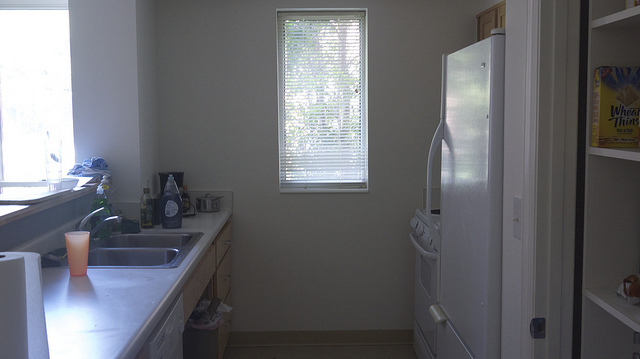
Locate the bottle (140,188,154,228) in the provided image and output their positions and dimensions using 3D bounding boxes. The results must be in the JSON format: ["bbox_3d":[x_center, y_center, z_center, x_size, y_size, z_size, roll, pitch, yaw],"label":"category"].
[{"bbox_3d":[-1.372,0.221,3.591,0.113,0.309,0.157,-6,11,-21],"label":"bottle"}]

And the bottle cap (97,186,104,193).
[{"bbox_3d":[-1.576,0.071,3.252,0.043,0.044,0.039,-6,11,-25],"label":"bottle cap"}]

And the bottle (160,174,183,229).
[{"bbox_3d":[-1.166,0.176,3.530,0.162,0.402,0.162,-2,10,0],"label":"bottle"}]

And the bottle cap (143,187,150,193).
[{"bbox_3d":[-1.371,0.083,3.575,0.049,0.034,0.048,1,2,-7],"label":"bottle cap"}]

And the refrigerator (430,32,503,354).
[{"bbox_3d":[0.975,0.243,3.024,0.273,2.326,0.759,-3,10,-10],"label":"refrigerator"}]

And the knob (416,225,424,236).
[{"bbox_3d":[0.815,0.406,3.683,0.020,0.064,0.073,11,-5,-15],"label":"knob"}]

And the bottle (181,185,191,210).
[{"bbox_3d":[-1.155,0.158,3.891,0.070,0.199,0.152,-5,11,-17],"label":"bottle"}]

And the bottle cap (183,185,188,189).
[{"bbox_3d":[-1.170,0.064,3.917,0.028,0.027,0.027,1,0,-5],"label":"bottle cap"}]
